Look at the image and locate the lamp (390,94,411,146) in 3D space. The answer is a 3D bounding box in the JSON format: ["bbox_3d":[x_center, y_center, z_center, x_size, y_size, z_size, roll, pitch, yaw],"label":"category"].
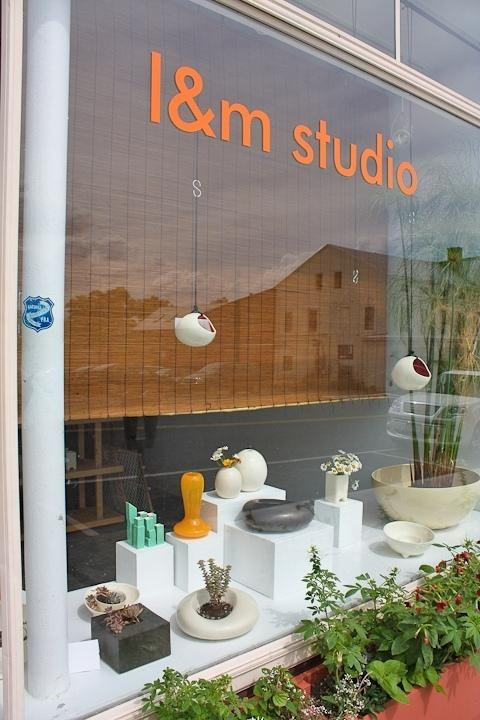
[{"bbox_3d":[0.759,-1.130,2.611,0.037,0.171,0.164,-2,1,43],"label":"lamp"}]

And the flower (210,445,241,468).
[{"bbox_3d":[-0.054,0.341,1.979,0.078,0.041,0.084,-2,-5,26],"label":"flower"}]

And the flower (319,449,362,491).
[{"bbox_3d":[0.427,0.441,2.361,0.172,0.165,0.170,2,3,-34],"label":"flower"}]

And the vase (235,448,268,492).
[{"bbox_3d":[0.023,0.409,2.145,0.145,0.177,0.145,-1,3,-22],"label":"vase"}]

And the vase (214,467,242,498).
[{"bbox_3d":[-0.055,0.436,2.047,0.105,0.103,0.106,-2,3,-24],"label":"vase"}]

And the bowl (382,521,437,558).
[{"bbox_3d":[0.801,0.804,2.610,0.196,0.098,0.199,2,11,0],"label":"bowl"}]

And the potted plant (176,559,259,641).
[{"bbox_3d":[-0.091,0.854,1.894,0.251,0.179,0.255,-2,-1,41],"label":"potted plant"}]

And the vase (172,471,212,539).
[{"bbox_3d":[-0.166,0.511,1.943,0.137,0.202,0.134,-3,-8,22],"label":"vase"}]
